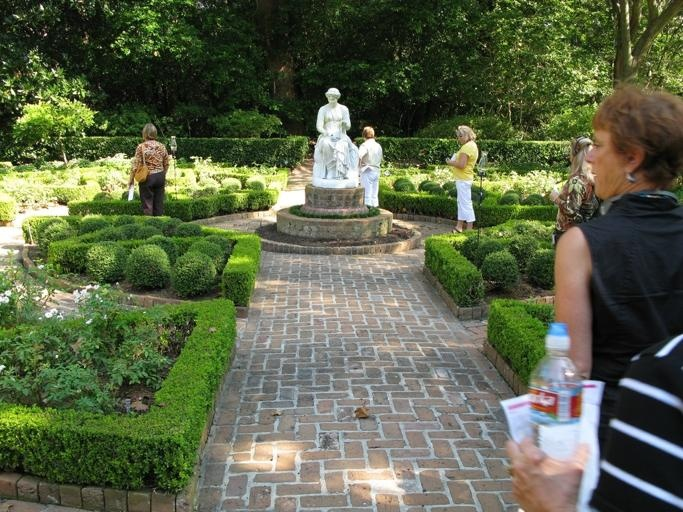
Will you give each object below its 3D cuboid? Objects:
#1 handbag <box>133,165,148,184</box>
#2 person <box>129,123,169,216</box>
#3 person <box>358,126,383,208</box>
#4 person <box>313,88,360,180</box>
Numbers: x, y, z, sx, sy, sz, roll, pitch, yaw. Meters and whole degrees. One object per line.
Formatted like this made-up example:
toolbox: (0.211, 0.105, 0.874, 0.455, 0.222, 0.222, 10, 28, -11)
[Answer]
handbag: (-3.739, -1.537, 10.683, 0.235, 0.304, 0.148, 16, 5, -2)
person: (-3.666, -1.610, 10.934, 0.700, 1.755, 0.728, -1, 12, -13)
person: (0.660, -2.042, 13.306, 0.493, 1.810, 0.914, 2, 12, 4)
person: (-0.134, -2.539, 12.331, 0.945, 1.957, 1.061, -1, 22, -4)
